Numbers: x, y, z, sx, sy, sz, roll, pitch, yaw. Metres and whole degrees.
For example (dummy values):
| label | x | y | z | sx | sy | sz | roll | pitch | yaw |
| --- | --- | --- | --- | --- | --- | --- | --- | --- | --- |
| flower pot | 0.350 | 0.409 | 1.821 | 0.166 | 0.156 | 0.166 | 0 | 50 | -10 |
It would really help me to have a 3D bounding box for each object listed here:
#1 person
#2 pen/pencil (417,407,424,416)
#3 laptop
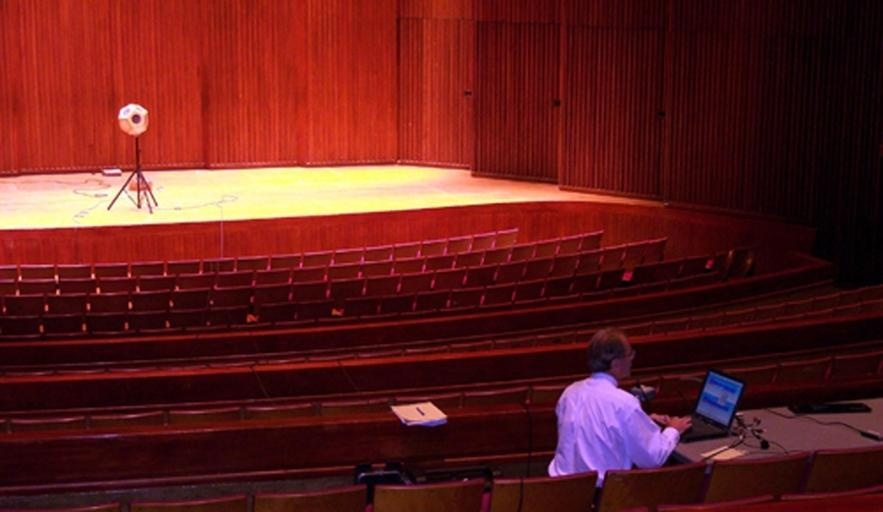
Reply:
| label | x | y | z | sx | sy | sz | roll | pitch | yaw |
| --- | --- | --- | --- | --- | --- | --- | --- | --- | --- |
| person | 1.222 | 1.114 | 5.319 | 0.638 | 0.881 | 0.946 | 9 | -47 | -28 |
| pen/pencil | -0.148 | 1.235 | 5.927 | 0.023 | 0.081 | 0.026 | -25 | -57 | -35 |
| laptop | 2.012 | 1.110 | 5.699 | 0.437 | 0.557 | 0.490 | 5 | -86 | -41 |
